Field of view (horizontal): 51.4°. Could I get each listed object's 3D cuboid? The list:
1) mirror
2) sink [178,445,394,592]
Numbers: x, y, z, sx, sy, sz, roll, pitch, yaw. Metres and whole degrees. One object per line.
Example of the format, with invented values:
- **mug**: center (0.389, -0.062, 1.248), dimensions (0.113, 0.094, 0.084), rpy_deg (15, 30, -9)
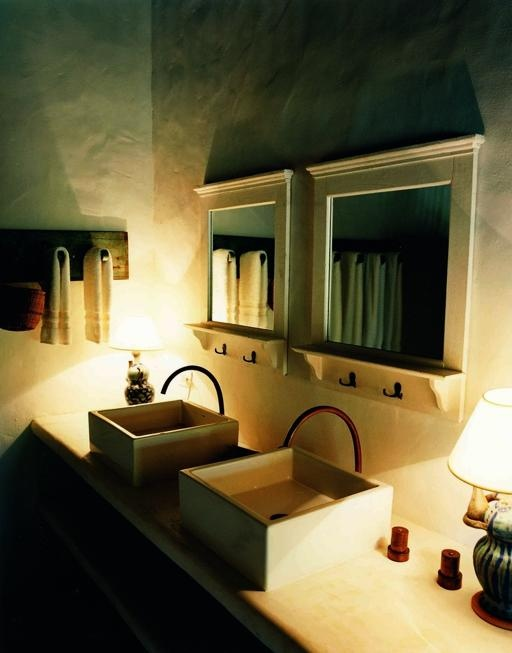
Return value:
- **mirror**: center (0.163, -0.148, 1.602), dimensions (0.126, 0.677, 1.090), rpy_deg (-8, 10, -33)
- **sink**: center (0.090, 0.420, 1.131), dimensions (0.256, 0.112, 0.283), rpy_deg (1, 4, -35)
